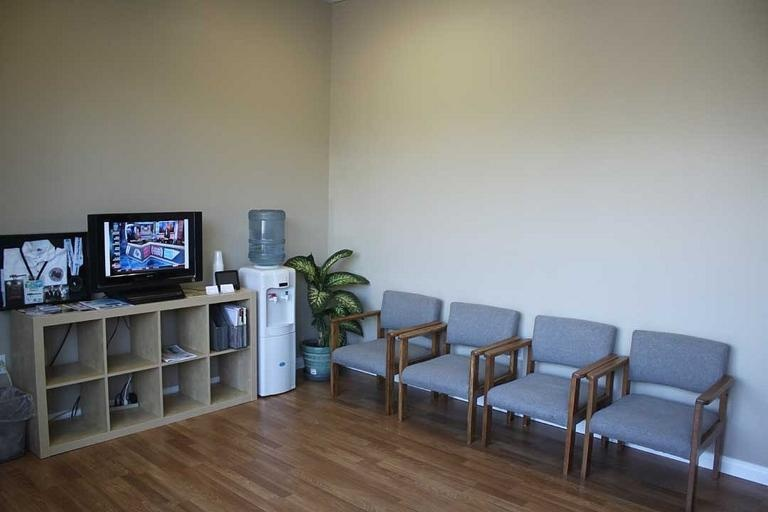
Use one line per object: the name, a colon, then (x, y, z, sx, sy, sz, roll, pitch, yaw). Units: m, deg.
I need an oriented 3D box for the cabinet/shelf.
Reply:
cabinet/shelf: (-2.259, 0.966, 4.769, 1.508, 0.765, 0.396, -5, 6, -43)

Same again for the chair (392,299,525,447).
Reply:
chair: (0.618, 0.993, 5.365, 1.137, 1.227, 1.223, 3, 5, 39)

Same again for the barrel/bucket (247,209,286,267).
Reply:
barrel/bucket: (-1.173, -0.206, 5.748, 0.485, 0.571, 0.406, -6, 9, -30)

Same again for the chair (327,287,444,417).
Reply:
chair: (0.085, 0.894, 5.610, 1.090, 1.222, 1.214, 4, 6, 41)

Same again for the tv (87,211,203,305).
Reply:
tv: (-2.143, -0.040, 4.956, 0.385, 0.751, 0.951, 8, 8, 38)

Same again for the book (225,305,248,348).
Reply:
book: (-1.405, 0.672, 5.266, 0.120, 0.357, 0.279, 1, 1, -22)

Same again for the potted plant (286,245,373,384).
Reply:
potted plant: (-0.721, 0.610, 5.981, 1.161, 1.384, 0.905, 2, -9, -28)

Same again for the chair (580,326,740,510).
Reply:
chair: (2.110, 1.199, 4.273, 0.940, 1.140, 0.852, 3, 9, 33)

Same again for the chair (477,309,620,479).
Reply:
chair: (1.302, 1.088, 4.967, 1.161, 1.252, 1.263, 3, 4, 41)
